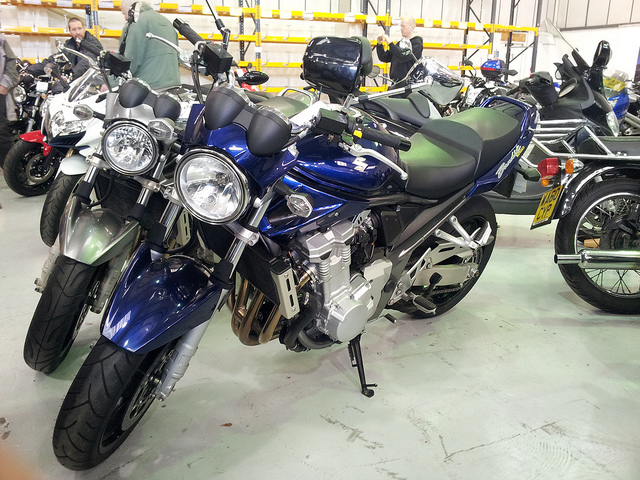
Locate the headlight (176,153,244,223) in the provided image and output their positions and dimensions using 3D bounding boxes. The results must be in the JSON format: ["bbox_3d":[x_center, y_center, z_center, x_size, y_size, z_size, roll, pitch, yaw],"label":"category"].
[{"bbox_3d":[-0.386,-0.187,1.630,0.250,0.233,0.080,3,20,16],"label":"headlight"}]

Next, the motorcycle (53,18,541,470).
[{"bbox_3d":[0.008,0.081,2.160,2.157,1.754,0.739,-9,23,-44],"label":"motorcycle"}]
